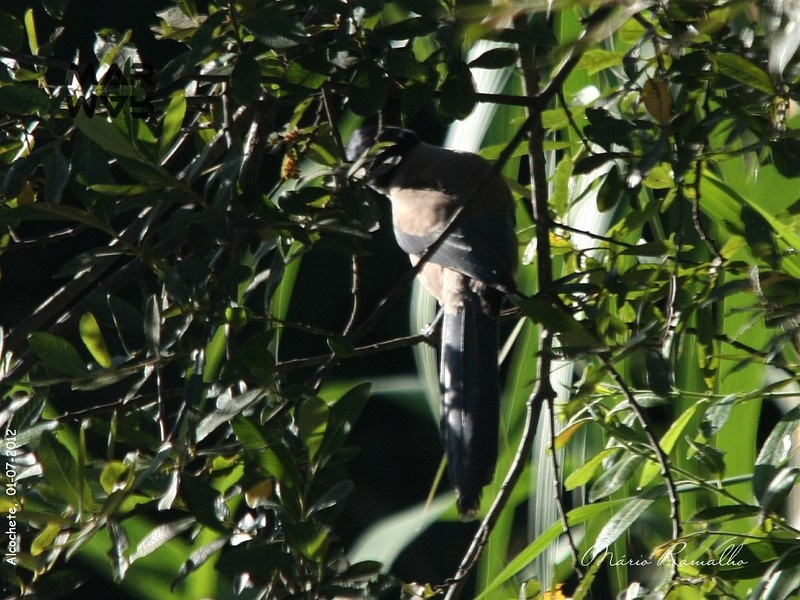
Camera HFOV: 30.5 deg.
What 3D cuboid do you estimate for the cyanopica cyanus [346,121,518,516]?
[{"bbox_3d":[0.060,-0.025,3.070,0.260,0.960,0.299,-3,-40,2],"label":"cyanopica cyanus"}]
